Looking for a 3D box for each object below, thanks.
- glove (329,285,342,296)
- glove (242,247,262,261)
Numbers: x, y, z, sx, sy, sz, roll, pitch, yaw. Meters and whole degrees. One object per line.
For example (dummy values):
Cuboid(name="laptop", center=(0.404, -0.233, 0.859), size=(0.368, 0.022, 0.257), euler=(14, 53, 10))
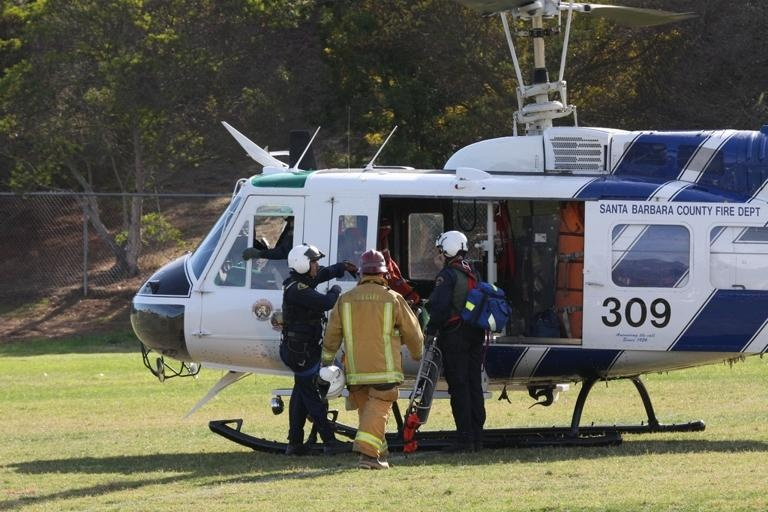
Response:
Cuboid(name="glove", center=(-1.131, 0.834, 41.015), size=(0.263, 0.222, 0.240), euler=(1, 14, 1))
Cuboid(name="glove", center=(-3.146, -0.017, 41.649), size=(0.449, 0.288, 0.176), euler=(0, 2, -5))
